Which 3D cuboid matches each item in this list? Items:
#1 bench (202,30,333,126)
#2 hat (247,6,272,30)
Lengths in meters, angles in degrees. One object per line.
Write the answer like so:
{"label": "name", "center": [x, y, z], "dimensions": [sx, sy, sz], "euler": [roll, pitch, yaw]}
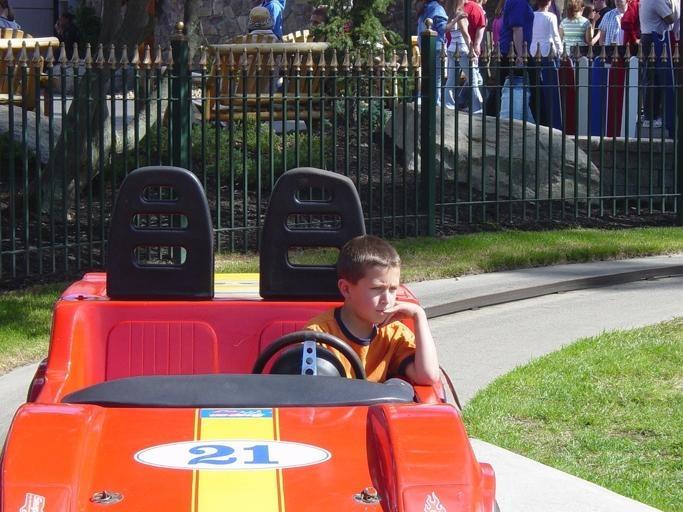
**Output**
{"label": "bench", "center": [-0.861, -2.009, 10.729], "dimensions": [1.421, 1.104, 4.884], "euler": [0, 13, -3]}
{"label": "hat", "center": [-1.264, -3.687, 14.202], "dimensions": [0.267, 0.447, 0.434], "euler": [-4, 12, -6]}
